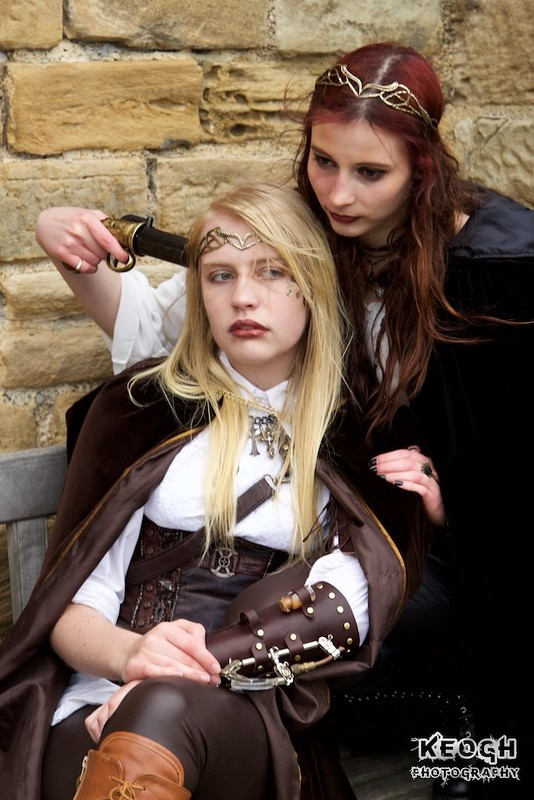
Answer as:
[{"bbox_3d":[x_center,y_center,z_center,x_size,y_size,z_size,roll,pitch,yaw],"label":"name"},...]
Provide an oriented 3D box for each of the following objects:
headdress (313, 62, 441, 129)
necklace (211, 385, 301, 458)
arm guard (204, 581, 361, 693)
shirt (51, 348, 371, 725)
[{"bbox_3d":[0.198,-0.582,1.359,0.152,0.036,0.131,28,19,24],"label":"headdress"},{"bbox_3d":[-0.071,0.043,1.395,0.160,0.114,0.045,9,-8,36],"label":"necklace"},{"bbox_3d":[0.027,0.352,1.104,0.201,0.091,0.126,-9,19,-28],"label":"arm guard"},{"bbox_3d":[-0.108,0.218,1.273,0.397,0.499,0.206,23,-28,-13],"label":"shirt"}]
